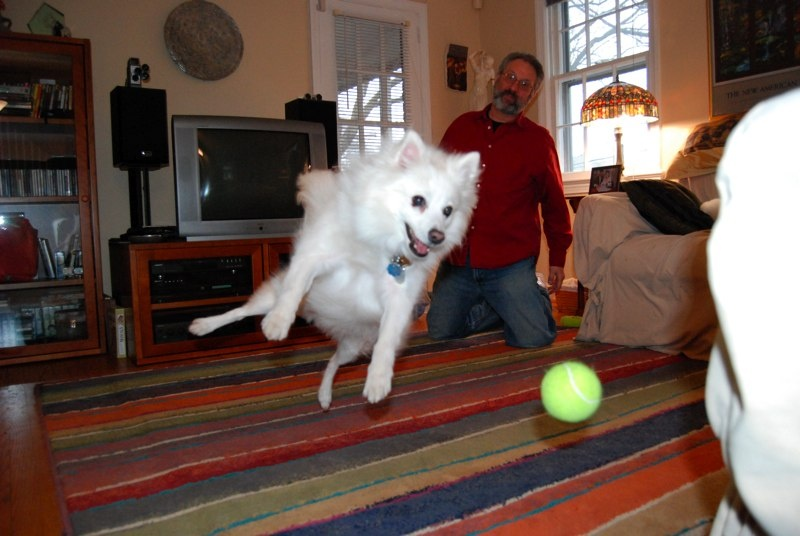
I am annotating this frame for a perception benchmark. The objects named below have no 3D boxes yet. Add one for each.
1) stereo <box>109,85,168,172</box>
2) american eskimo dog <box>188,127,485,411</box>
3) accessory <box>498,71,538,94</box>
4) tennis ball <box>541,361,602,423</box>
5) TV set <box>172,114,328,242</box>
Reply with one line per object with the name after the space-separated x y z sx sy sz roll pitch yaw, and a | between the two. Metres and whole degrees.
-2.108 -1.138 4.281 0.404 0.627 0.149 -5 9 -18 | stereo
-0.221 -0.103 2.833 1.078 1.098 1.449 18 2 -7 | american eskimo dog
0.803 -1.264 3.613 0.244 0.137 0.101 -4 9 -8 | accessory
0.740 0.548 2.361 0.256 0.260 0.257 13 -23 6 | tennis ball
-1.278 -0.747 4.284 1.387 0.999 0.595 -4 13 -33 | TV set
